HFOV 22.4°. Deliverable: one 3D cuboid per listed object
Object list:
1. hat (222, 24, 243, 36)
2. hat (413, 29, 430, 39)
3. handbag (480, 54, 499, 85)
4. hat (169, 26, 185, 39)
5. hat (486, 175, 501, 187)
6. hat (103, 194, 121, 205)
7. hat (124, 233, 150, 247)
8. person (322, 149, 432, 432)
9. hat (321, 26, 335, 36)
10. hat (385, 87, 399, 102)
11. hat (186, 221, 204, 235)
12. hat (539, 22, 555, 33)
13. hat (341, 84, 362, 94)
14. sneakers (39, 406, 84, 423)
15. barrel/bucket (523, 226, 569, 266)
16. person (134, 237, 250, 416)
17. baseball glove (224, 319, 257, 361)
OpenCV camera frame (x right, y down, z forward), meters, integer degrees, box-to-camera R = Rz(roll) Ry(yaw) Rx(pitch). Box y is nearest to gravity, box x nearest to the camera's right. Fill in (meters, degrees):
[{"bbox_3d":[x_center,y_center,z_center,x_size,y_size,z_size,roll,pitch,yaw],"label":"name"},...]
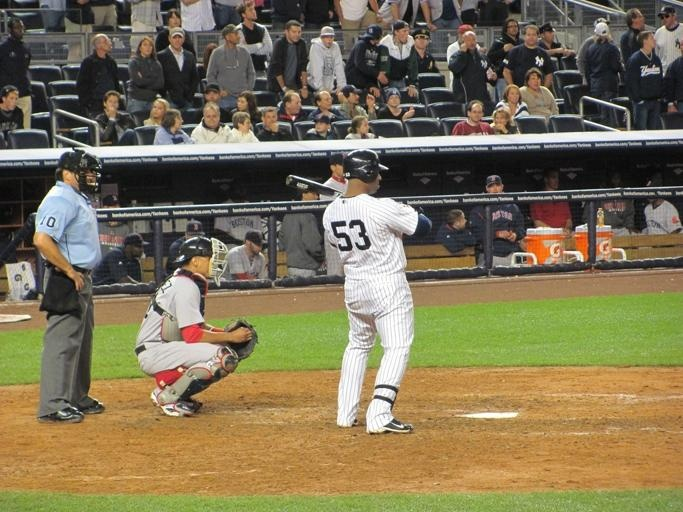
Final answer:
[{"bbox_3d":[-1.809,-3.691,28.164,0.258,0.102,0.175,-11,13,0],"label":"hat"},{"bbox_3d":[1.376,-3.859,30.036,0.258,0.158,0.306,0,2,-4],"label":"hat"},{"bbox_3d":[2.546,-3.242,30.072,0.134,0.380,0.403,-27,-20,16],"label":"handbag"},{"bbox_3d":[-2.687,-3.630,28.125,0.249,0.124,0.345,-1,13,-13],"label":"hat"},{"bbox_3d":[2.426,-1.193,27.528,0.170,0.123,0.241,-6,-2,7],"label":"hat"},{"bbox_3d":[-3.639,-0.874,27.223,0.205,0.106,0.152,-9,4,45],"label":"hat"},{"bbox_3d":[-3.113,-0.232,26.114,0.268,0.149,0.181,0,7,-9],"label":"hat"},{"bbox_3d":[0.386,0.416,20.203,1.112,3.297,0.547,1,2,8],"label":"person"},{"bbox_3d":[-0.242,-3.740,28.844,0.201,0.112,0.247,-1,10,-5],"label":"hat"},{"bbox_3d":[0.843,-2.697,28.581,0.188,0.233,0.228,2,-15,4],"label":"hat"},{"bbox_3d":[-2.202,-0.409,26.071,0.283,0.214,0.288,1,2,-6],"label":"hat"},{"bbox_3d":[3.731,-4.184,31.569,0.191,0.105,0.242,-5,4,-29],"label":"hat"},{"bbox_3d":[0.128,-2.727,28.342,0.250,0.087,0.158,0,15,4],"label":"hat"},{"bbox_3d":[-3.323,1.911,20.460,0.479,0.219,0.206,-2,1,-2],"label":"sneakers"},{"bbox_3d":[3.263,-0.151,27.393,0.640,0.587,0.560,0,1,3],"label":"barrel/bucket"},{"bbox_3d":[-1.814,0.865,20.824,1.312,2.153,0.496,1,2,-6],"label":"person"},{"bbox_3d":[-1.197,1.039,21.111,0.453,0.454,0.192,-2,16,24],"label":"baseball glove"}]
